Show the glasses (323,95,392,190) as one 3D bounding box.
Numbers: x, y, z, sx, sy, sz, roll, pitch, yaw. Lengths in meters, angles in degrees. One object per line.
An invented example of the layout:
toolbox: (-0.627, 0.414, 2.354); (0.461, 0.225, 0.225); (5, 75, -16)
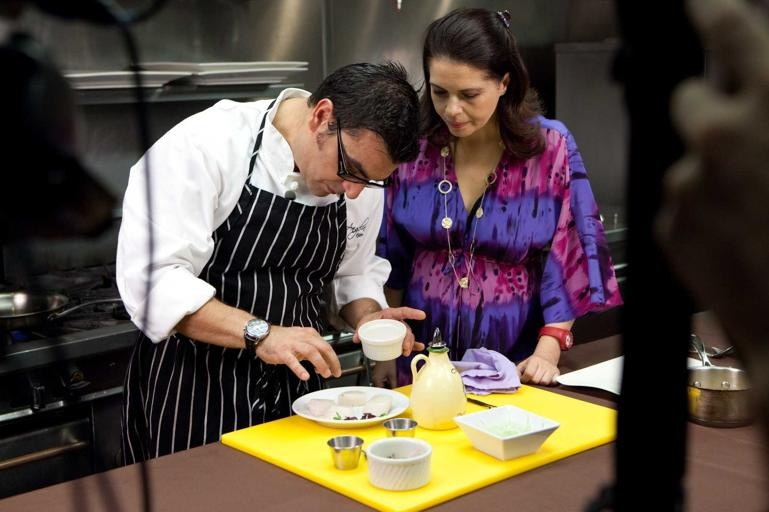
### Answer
glasses: (-0.059, -0.276, 1.567); (0.041, 0.164, 0.152); (-7, -7, 24)

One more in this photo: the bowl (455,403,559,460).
bowl: (0.269, 0.357, 1.315); (0.135, 0.047, 0.115); (-3, 8, -40)

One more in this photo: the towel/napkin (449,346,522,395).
towel/napkin: (0.282, 0.315, 1.648); (0.121, 0.040, 0.122); (3, 15, 23)

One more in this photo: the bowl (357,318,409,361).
bowl: (-0.003, 0.220, 1.629); (0.109, 0.064, 0.109); (-4, 5, 0)

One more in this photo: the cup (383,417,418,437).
cup: (0.041, 0.375, 1.353); (0.045, 0.032, 0.046); (2, 4, 0)

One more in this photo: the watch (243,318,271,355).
watch: (-0.298, 0.188, 1.505); (0.052, 0.071, 0.074); (22, 53, 11)

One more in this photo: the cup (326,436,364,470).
cup: (-0.078, 0.395, 1.227); (0.061, 0.043, 0.064); (0, -6, 0)

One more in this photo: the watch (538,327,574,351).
watch: (0.533, 0.245, 1.856); (0.094, 0.060, 0.097); (28, -20, 12)
